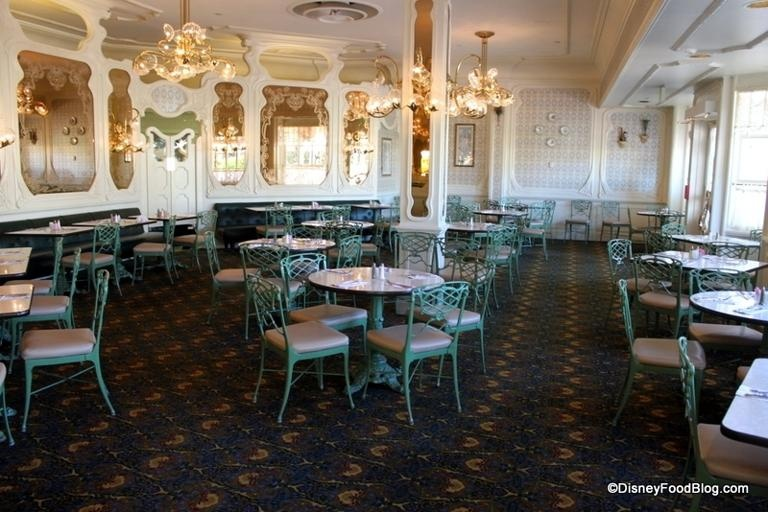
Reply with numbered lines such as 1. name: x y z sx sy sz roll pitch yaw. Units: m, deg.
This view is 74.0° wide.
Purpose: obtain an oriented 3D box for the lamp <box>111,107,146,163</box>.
1. lamp: -5.337 -2.488 10.555 0.517 1.074 1.443 -9 14 -32

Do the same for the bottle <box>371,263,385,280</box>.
1. bottle: -0.074 0.150 4.985 0.179 0.131 0.159 2 8 15

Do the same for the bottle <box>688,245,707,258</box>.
1. bottle: 4.026 -0.063 6.534 0.270 0.211 0.177 0 8 26
